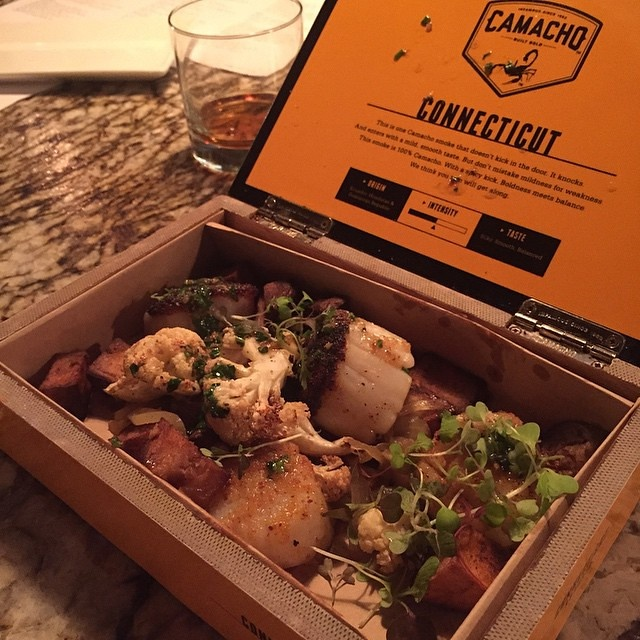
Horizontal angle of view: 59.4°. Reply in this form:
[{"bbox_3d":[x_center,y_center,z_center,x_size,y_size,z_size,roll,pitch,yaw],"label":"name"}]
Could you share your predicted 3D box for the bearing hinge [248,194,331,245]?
[{"bbox_3d":[-0.056,-0.182,1.071,0.148,0.036,0.076,21,65,14],"label":"bearing hinge"}]
